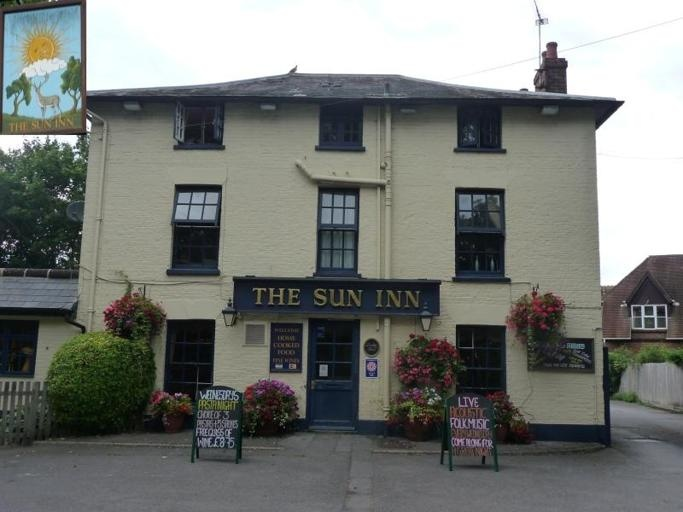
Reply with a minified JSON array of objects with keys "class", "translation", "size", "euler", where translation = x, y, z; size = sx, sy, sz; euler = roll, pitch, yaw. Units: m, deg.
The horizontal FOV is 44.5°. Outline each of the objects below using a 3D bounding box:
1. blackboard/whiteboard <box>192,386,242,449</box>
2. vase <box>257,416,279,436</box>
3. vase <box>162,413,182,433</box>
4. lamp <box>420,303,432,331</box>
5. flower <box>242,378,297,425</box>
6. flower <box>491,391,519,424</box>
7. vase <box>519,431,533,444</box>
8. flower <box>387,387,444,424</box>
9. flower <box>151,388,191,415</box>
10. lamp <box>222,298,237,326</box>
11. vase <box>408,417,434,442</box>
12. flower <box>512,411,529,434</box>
[{"class":"blackboard/whiteboard","translation":[-2.777,3.667,18.783],"size":[1.376,1.842,0.586],"euler":[0,-20,-2]},{"class":"vase","translation":[-1.878,4.335,21.223],"size":[0.453,0.318,0.449],"euler":[1,-17,-2]},{"class":"vase","translation":[-4.375,4.336,21.625],"size":[0.488,0.358,0.487],"euler":[-1,-16,2]},{"class":"lamp","translation":[2.205,1.642,21.874],"size":[0.333,0.752,0.409],"euler":[1,4,5]},{"class":"flower","translation":[-1.835,3.825,21.463],"size":[1.241,1.072,1.069],"euler":[-1,-1,4]},{"class":"flower","translation":[4.124,3.864,21.281],"size":[0.886,0.781,0.935],"euler":[3,-8,21]},{"class":"vase","translation":[4.609,4.604,21.259],"size":[0.383,0.390,0.311],"euler":[1,-9,-3]},{"class":"flower","translation":[1.882,3.803,21.243],"size":[1.036,0.697,1.021],"euler":[7,-14,-21]},{"class":"flower","translation":[-4.419,3.856,21.744],"size":[0.768,0.522,0.717],"euler":[-1,-2,3]},{"class":"lamp","translation":[-2.956,1.528,22.107],"size":[0.403,0.721,0.517],"euler":[0,4,-9]},{"class":"vase","translation":[1.946,4.382,21.092],"size":[0.580,0.420,0.576],"euler":[1,-15,-1]},{"class":"flower","translation":[4.528,4.301,21.439],"size":[0.484,0.365,0.517],"euler":[2,-9,0]}]
